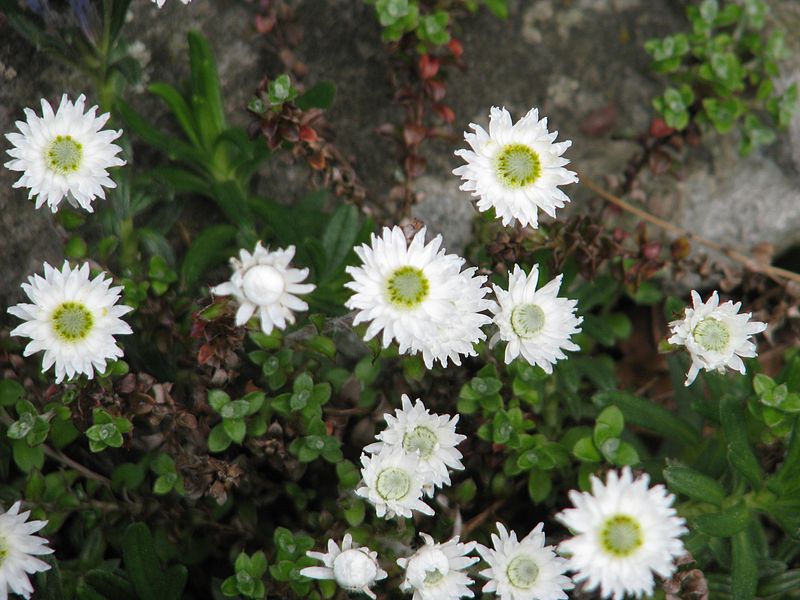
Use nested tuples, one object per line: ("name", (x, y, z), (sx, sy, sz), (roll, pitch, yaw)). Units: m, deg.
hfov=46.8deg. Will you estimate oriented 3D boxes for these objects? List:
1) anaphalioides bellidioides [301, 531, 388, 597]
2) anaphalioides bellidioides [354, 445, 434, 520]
("anaphalioides bellidioides", (-0.182, 0.916, 3.158), (0.225, 0.099, 0.256), (-35, 68, -29))
("anaphalioides bellidioides", (-0.025, 0.632, 3.164), (0.251, 0.108, 0.229), (31, 79, -3))
